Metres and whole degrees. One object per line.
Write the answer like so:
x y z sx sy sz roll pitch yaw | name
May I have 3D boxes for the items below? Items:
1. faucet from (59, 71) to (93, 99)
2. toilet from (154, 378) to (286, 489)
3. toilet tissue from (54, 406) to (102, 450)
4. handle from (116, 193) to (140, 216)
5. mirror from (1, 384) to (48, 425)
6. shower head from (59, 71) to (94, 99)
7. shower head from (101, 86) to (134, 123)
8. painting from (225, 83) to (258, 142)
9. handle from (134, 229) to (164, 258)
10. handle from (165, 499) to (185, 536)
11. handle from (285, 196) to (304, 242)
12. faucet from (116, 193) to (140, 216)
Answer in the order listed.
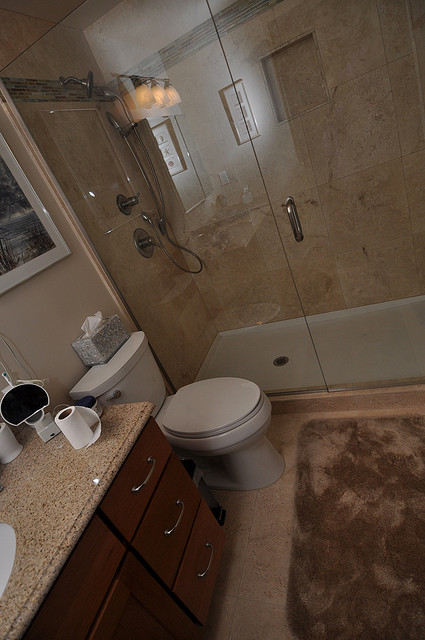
-0.558 -0.982 1.690 0.127 0.086 0.076 4 -22 -13 | faucet
0.032 0.472 1.688 0.451 0.334 0.401 -5 22 27 | toilet
-0.369 0.295 1.081 0.084 0.099 0.089 -7 -15 -41 | toilet tissue
-0.397 -0.565 1.929 0.034 0.063 0.155 -14 28 33 | handle
-0.535 0.232 1.151 0.088 0.087 0.103 -27 20 5 | mirror
-0.551 -0.962 1.684 0.116 0.091 0.105 6 27 3 | shower head
-0.427 -0.978 1.848 0.081 0.179 0.023 -41 25 -25 | shower head
0.135 -0.958 1.883 0.100 0.220 0.018 -15 26 32 | painting
-0.303 -0.383 2.007 0.041 0.116 0.113 -1 10 38 | handle
-0.101 0.543 1.117 0.050 0.012 0.056 -7 59 37 | handle
0.431 -0.522 2.160 0.060 0.250 0.066 -23 23 -7 | handle
-0.401 -0.547 1.932 0.092 0.090 0.085 -3 8 45 | faucet
